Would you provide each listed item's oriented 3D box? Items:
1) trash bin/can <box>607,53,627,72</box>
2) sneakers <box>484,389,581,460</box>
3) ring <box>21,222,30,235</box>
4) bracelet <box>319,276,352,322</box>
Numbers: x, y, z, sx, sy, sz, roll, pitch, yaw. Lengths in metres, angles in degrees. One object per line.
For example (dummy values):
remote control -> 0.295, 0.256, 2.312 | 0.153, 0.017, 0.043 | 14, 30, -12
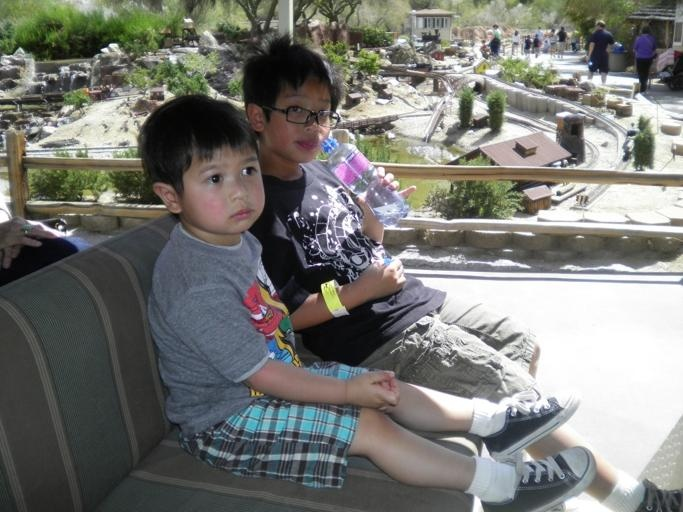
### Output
trash bin/can -> 12.362, -8.634, 23.505 | 0.835, 0.830, 0.867 | 11, 40, 17
sneakers -> 0.618, 0.550, 1.710 | 0.247, 0.115, 0.085 | -34, 21, 9
ring -> -1.107, -0.096, 1.844 | 0.031, 0.033, 0.008 | -13, -14, 16
bracelet -> -0.036, 0.154, 1.919 | 0.087, 0.142, 0.124 | -25, 8, -5
